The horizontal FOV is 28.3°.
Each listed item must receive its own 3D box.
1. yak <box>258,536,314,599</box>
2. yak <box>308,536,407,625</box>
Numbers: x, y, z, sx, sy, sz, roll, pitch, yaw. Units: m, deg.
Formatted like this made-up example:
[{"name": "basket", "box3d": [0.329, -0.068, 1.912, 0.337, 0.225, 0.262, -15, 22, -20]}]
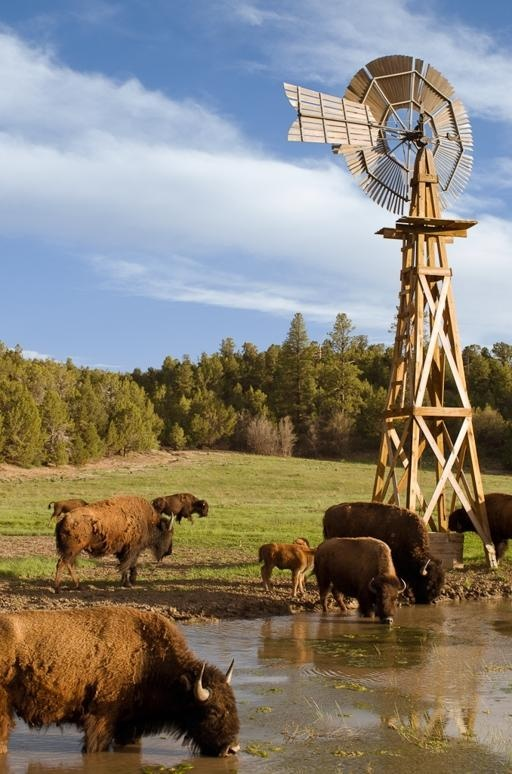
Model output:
[{"name": "yak", "box3d": [0.673, 3.185, 18.007, 1.275, 0.927, 0.411, 1, 0, 14]}, {"name": "yak", "box3d": [1.644, 3.059, 16.057, 0.593, 1.032, 1.999, 5, -2, -29]}]
